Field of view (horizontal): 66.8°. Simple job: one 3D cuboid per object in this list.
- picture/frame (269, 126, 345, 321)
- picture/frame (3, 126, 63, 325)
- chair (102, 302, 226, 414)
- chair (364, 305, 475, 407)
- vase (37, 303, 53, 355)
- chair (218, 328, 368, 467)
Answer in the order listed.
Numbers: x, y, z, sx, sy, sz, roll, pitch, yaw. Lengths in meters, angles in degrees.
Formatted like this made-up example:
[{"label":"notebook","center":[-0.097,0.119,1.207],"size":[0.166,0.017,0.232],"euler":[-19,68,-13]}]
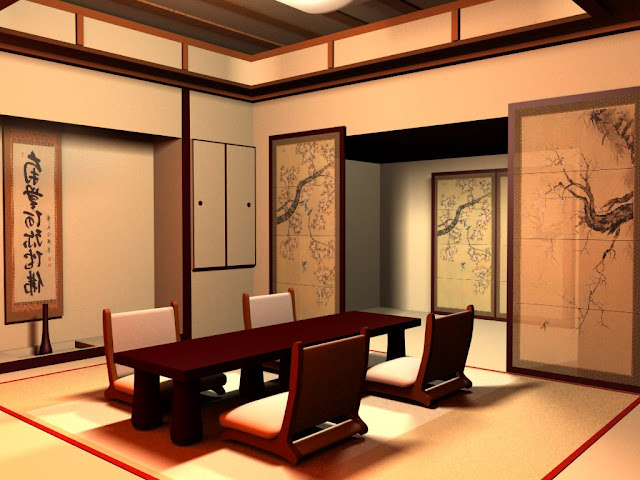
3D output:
[{"label":"picture/frame","center":[-0.187,-0.179,6.286],"size":[1.184,2.413,0.070],"euler":[2,3,33]},{"label":"picture/frame","center":[-3.029,-0.158,5.153],"size":[0.085,2.007,0.553],"euler":[2,3,37]},{"label":"chair","center":[-1.591,0.879,4.255],"size":[0.628,0.614,0.642],"euler":[-4,1,-38]},{"label":"chair","center":[0.837,0.966,4.341],"size":[0.768,0.751,0.730],"euler":[1,0,44]},{"label":"vase","center":[-2.908,0.920,5.146],"size":[0.125,0.502,0.356],"euler":[-1,3,-30]},{"label":"chair","center":[-0.200,0.902,3.431],"size":[0.821,0.825,0.857],"euler":[0,0,42]}]
